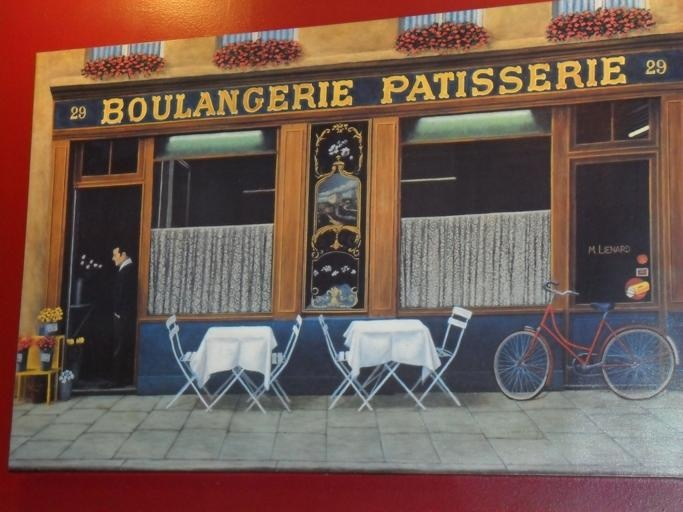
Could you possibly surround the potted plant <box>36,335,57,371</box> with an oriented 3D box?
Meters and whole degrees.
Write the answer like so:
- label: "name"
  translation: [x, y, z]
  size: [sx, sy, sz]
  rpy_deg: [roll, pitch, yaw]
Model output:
- label: "potted plant"
  translation: [-2.135, 0.721, 6.837]
  size: [0.131, 0.230, 0.139]
  rpy_deg: [8, 6, 32]
